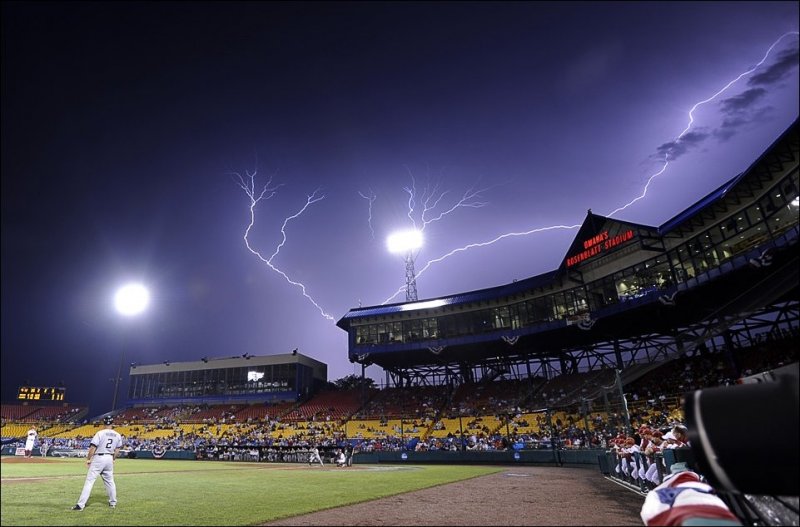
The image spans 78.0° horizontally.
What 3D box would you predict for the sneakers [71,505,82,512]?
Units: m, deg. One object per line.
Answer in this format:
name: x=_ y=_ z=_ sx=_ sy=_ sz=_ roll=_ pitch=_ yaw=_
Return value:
sneakers: x=-14.092 y=10.723 z=21.627 sx=0.519 sy=0.221 sz=0.220 roll=0 pitch=-11 yaw=10
